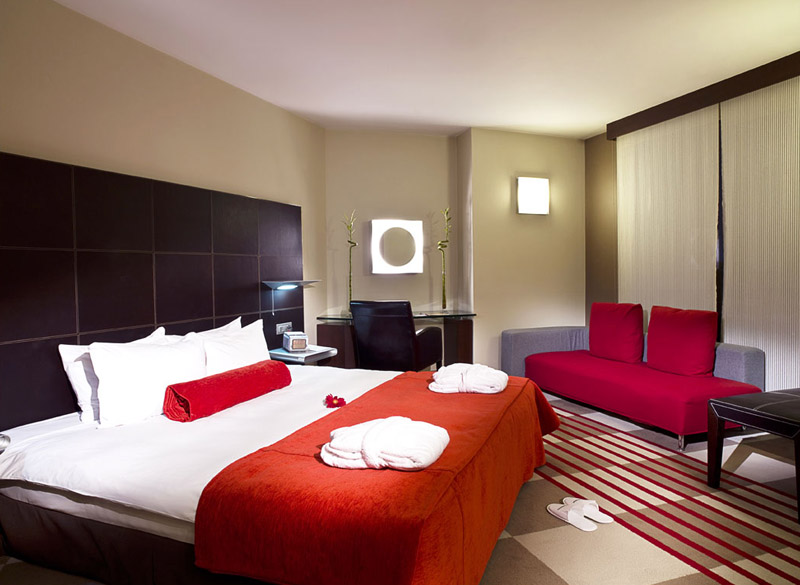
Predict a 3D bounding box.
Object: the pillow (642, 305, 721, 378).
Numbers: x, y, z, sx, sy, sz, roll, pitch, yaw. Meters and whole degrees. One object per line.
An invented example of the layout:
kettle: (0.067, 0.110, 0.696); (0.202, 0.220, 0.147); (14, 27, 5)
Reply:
pillow: (2.381, 0.411, 4.636); (0.307, 0.580, 0.577); (3, 3, -31)

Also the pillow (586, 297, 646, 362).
pillow: (2.085, 0.380, 5.239); (0.314, 0.595, 0.595); (2, -1, -27)

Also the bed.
bed: (-0.584, 1.058, 2.984); (2.734, 0.651, 1.486); (1, 11, 7)

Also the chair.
chair: (-0.039, 0.354, 5.331); (0.649, 0.942, 0.724); (1, 7, 26)

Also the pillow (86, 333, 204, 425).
pillow: (-1.563, 0.549, 3.273); (0.116, 0.319, 0.475); (-24, -20, 34)

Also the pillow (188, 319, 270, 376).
pillow: (-1.213, 0.396, 3.889); (0.123, 0.318, 0.427); (-23, -10, 23)

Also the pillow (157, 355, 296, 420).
pillow: (-1.111, 0.625, 3.591); (0.293, 0.238, 0.908); (6, 8, 29)
